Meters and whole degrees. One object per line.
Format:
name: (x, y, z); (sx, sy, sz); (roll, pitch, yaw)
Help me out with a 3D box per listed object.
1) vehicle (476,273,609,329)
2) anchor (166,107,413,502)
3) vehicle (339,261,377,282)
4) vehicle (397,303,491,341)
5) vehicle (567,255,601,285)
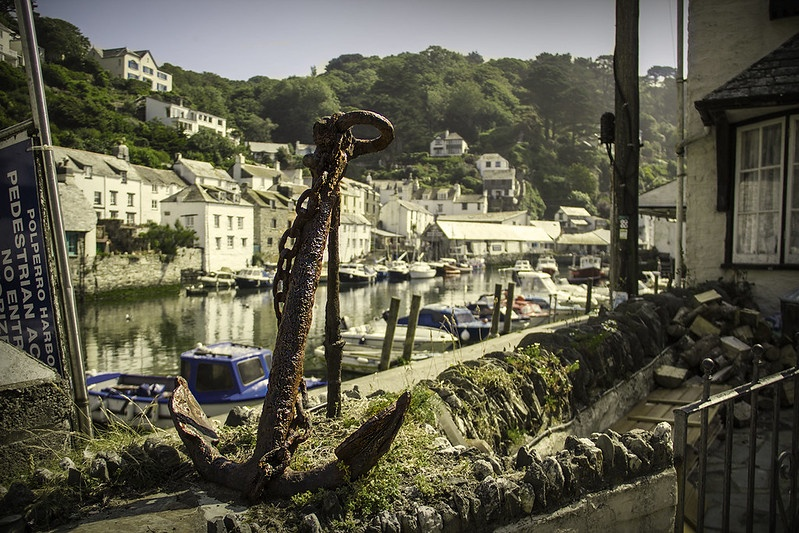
vehicle: (6.097, 1.573, 30.148); (2.156, 2.450, 6.388); (-4, 2, -39)
anchor: (-1.263, 0.435, 9.181); (2.474, 4.458, 0.619); (9, -11, -9)
vehicle: (-3.301, 0.504, 62.976); (1.820, 1.436, 4.903); (0, -5, 15)
vehicle: (1.757, 1.698, 23.552); (3.555, 1.149, 1.177); (2, 8, 10)
vehicle: (14.673, 0.165, 58.941); (2.232, 2.853, 7.574); (0, -5, 7)
